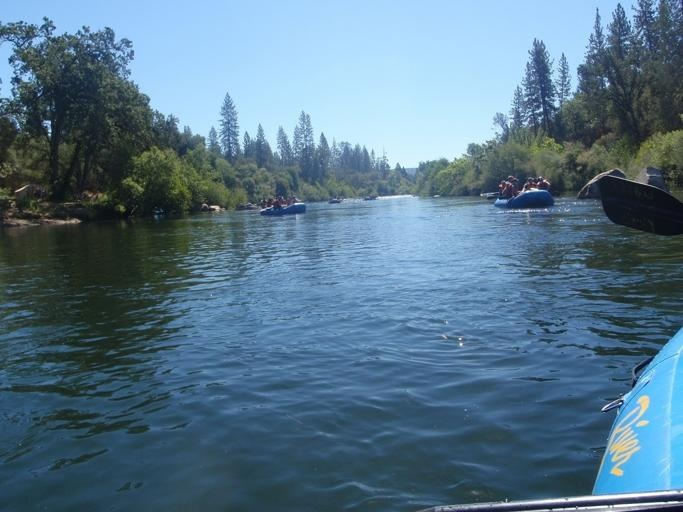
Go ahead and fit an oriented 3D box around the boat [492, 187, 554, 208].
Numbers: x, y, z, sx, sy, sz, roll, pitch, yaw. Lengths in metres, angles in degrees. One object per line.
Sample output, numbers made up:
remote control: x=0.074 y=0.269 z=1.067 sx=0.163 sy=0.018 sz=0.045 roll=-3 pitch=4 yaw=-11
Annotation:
boat: x=11.639 y=-3.644 z=37.205 sx=1.741 sy=1.339 sz=3.501 roll=-6 pitch=10 yaw=-25
